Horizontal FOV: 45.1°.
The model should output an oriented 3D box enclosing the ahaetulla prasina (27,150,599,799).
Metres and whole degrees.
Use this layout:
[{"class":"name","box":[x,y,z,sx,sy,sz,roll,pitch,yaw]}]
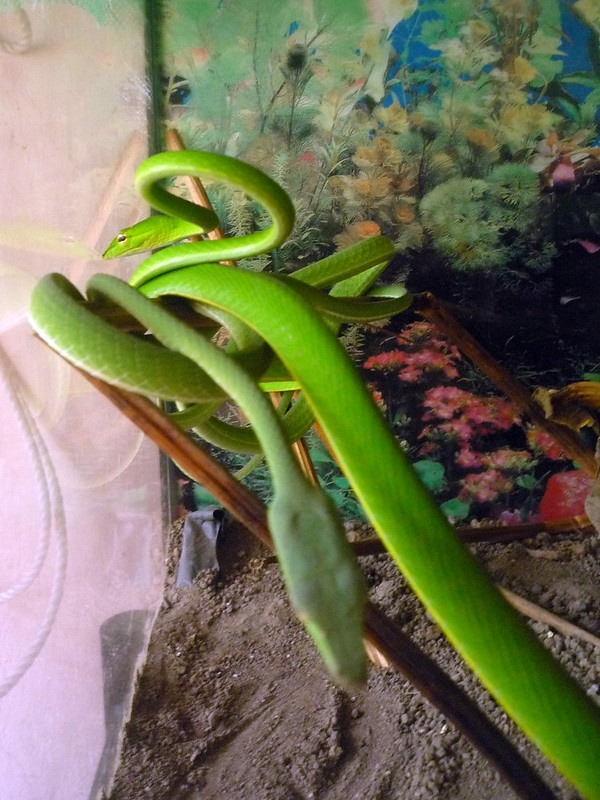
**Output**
[{"class":"ahaetulla prasina","box":[-0.140,-0.046,1.193,0.634,0.216,1.452,-16,45,-31]}]
